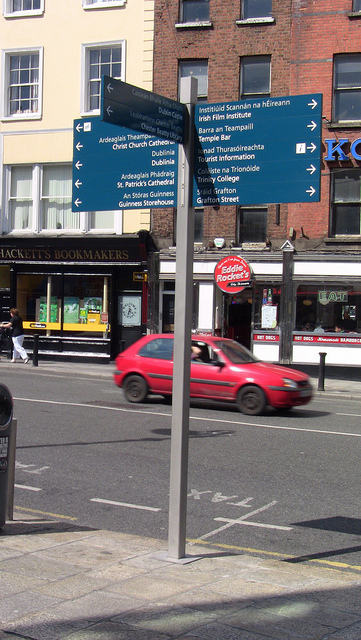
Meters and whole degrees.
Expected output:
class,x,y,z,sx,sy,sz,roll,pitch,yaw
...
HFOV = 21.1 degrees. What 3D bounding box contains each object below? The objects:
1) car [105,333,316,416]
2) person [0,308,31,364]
class,x,y,z,sx,sy,sz,roll,pitch,yaw
car,0.564,0.902,15.798,3.092,1.247,1.451,0,1,24
person,-4.294,0.387,25.278,0.667,1.423,2.616,0,3,-10
